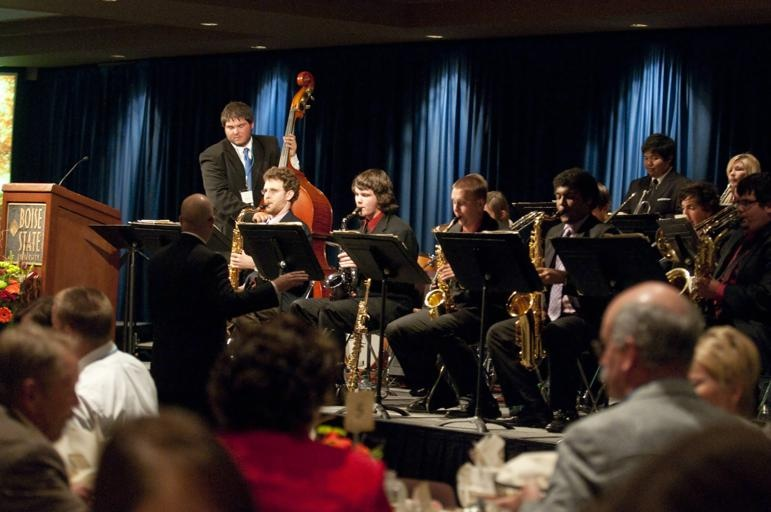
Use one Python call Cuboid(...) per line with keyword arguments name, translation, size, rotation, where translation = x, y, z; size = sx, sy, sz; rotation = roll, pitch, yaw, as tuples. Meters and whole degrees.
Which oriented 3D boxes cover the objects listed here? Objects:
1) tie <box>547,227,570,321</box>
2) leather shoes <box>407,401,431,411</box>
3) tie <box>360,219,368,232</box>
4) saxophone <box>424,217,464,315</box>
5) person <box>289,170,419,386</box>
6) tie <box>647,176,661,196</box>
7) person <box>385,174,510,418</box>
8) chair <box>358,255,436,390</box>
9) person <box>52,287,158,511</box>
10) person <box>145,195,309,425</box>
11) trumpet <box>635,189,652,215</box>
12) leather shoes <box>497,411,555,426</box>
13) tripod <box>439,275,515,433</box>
Cuboid(name="tie", translation=(1.353, 0.221, 5.322), size=(0.161, 0.902, 0.160), rotation=(0, 7, -5))
Cuboid(name="leather shoes", translation=(0.265, 1.226, 5.535), size=(0.152, 0.066, 0.064), rotation=(9, -8, -22))
Cuboid(name="tie", translation=(-0.188, -0.271, 6.148), size=(0.069, 0.113, 0.087), rotation=(6, 14, 1))
Cuboid(name="saxophone", translation=(0.445, 0.109, 5.701), size=(0.296, 0.776, 0.301), rotation=(5, -26, -11))
Cuboid(name="person", translation=(-0.171, 0.097, 5.752), size=(0.943, 1.684, 0.864), rotation=(4, 9, 29))
Cuboid(name="tie", translation=(2.719, -0.709, 6.846), size=(0.119, 0.166, 0.060), rotation=(-5, -13, 38))
Cuboid(name="person", translation=(0.496, 0.341, 5.521), size=(0.929, 1.878, 0.924), rotation=(2, 5, 29))
Cuboid(name="chair", translation=(0.009, 0.742, 5.637), size=(0.637, 1.422, 0.566), rotation=(2, 19, 13))
Cuboid(name="person", translation=(-1.321, 0.628, 3.147), size=(0.390, 0.908, 0.424), rotation=(9, 20, 38))
Cuboid(name="person", translation=(-1.083, 0.638, 4.365), size=(0.900, 1.936, 0.708), rotation=(10, 8, 12))
Cuboid(name="trumpet", translation=(2.590, -0.552, 6.839), size=(0.158, 0.224, 0.272), rotation=(-5, -2, 20))
Cuboid(name="leather shoes", translation=(1.047, 1.207, 4.977), size=(0.351, 0.138, 0.125), rotation=(1, -11, -2))
Cuboid(name="tripod", translation=(0.657, 0.730, 4.887), size=(0.440, 1.171, 0.407), rotation=(2, 2, 28))
